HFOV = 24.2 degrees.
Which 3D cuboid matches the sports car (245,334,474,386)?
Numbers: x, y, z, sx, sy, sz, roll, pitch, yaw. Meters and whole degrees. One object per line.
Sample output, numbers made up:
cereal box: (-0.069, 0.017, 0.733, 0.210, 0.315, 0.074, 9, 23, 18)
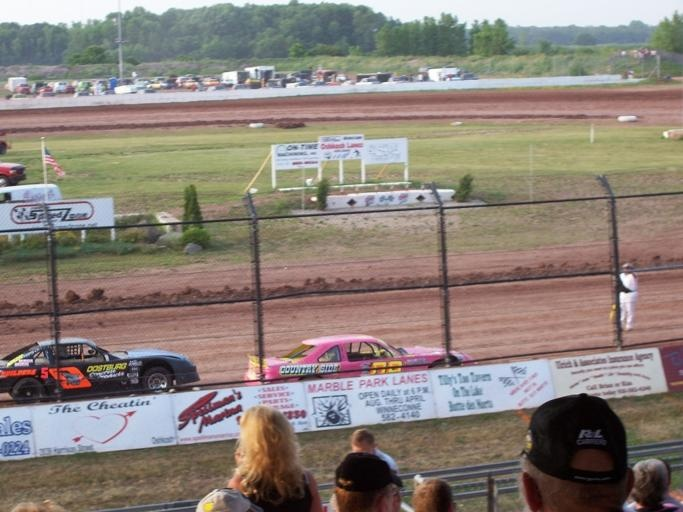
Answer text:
sports car: (0.304, 4.733, 74.233, 7.932, 1.813, 0.888, -3, 8, -3)
